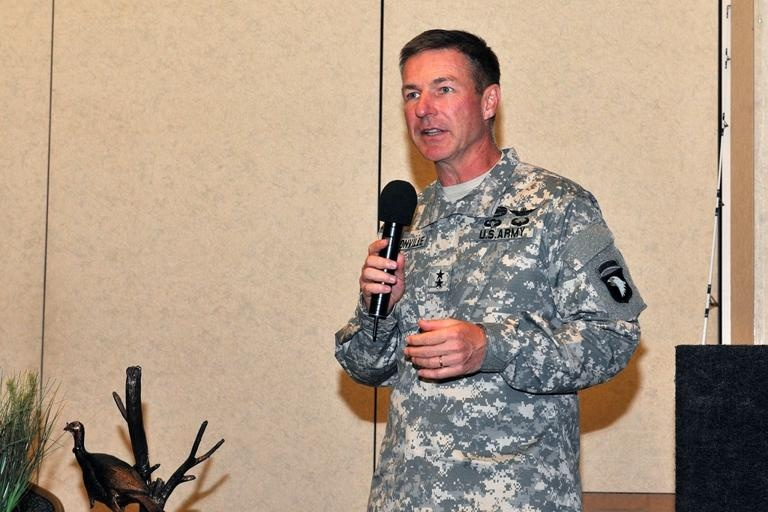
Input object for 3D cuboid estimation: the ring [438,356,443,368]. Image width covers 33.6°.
[{"bbox_3d":[0.225,0.421,5.020,0.013,0.042,0.018,0,-17,9],"label":"ring"}]
